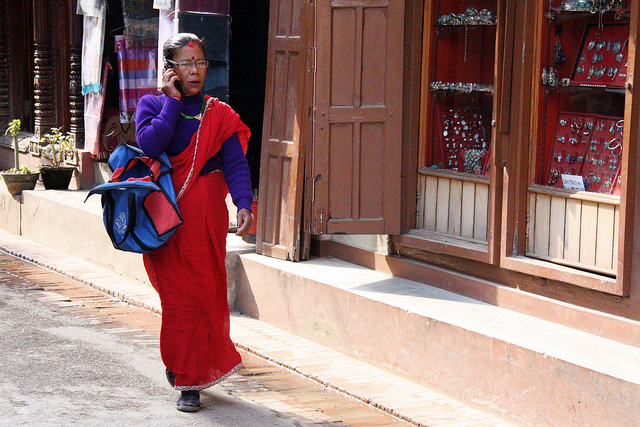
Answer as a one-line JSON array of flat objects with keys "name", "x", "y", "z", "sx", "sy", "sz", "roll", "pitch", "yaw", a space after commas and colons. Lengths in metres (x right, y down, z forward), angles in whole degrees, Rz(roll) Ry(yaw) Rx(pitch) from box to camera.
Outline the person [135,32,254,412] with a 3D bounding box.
[{"name": "person", "x": -1.142, "y": 0.079, "z": 7.234, "sx": 0.994, "sy": 2.959, "sz": 0.581, "roll": -1, "pitch": 11, "yaw": -14}]

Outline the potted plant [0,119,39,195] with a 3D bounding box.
[{"name": "potted plant", "x": -5.185, "y": -0.980, "z": 13.841, "sx": 0.568, "sy": 1.029, "sz": 2.330, "roll": -3, "pitch": 13, "yaw": -20}]

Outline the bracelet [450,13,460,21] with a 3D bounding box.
[{"name": "bracelet", "x": 1.404, "y": -1.916, "z": 8.756, "sx": 0.112, "sy": 0.052, "sz": 0.015, "roll": 9, "pitch": 13, "yaw": 31}]

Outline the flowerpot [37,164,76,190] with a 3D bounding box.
[{"name": "flowerpot", "x": -4.294, "y": -0.509, "z": 13.008, "sx": 0.384, "sy": 0.283, "sz": 0.399, "roll": 0, "pitch": -1, "yaw": 7}]

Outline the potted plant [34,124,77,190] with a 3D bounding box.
[{"name": "potted plant", "x": -4.332, "y": -0.825, "z": 13.173, "sx": 0.587, "sy": 0.908, "sz": 0.578, "roll": -1, "pitch": 4, "yaw": 22}]

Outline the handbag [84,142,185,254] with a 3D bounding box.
[{"name": "handbag", "x": -1.692, "y": -0.101, "z": 7.153, "sx": 0.675, "sy": 0.867, "sz": 0.605, "roll": -1, "pitch": 3, "yaw": -4}]

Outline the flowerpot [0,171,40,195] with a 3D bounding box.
[{"name": "flowerpot", "x": -4.852, "y": -0.432, "z": 13.020, "sx": 0.564, "sy": 0.338, "sz": 0.281, "roll": -3, "pitch": 12, "yaw": -21}]

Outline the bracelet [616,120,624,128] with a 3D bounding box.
[{"name": "bracelet", "x": 2.824, "y": -0.768, "z": 7.748, "sx": 0.035, "sy": 0.068, "sz": 0.084, "roll": -2, "pitch": 12, "yaw": -16}]

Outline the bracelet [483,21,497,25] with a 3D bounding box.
[{"name": "bracelet", "x": 1.730, "y": -1.801, "z": 8.530, "sx": 0.028, "sy": 0.031, "sz": 0.160, "roll": -6, "pitch": 14, "yaw": -32}]

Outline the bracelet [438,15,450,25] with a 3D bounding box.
[{"name": "bracelet", "x": 1.274, "y": -1.872, "z": 8.742, "sx": 0.069, "sy": 0.069, "sz": 0.090, "roll": -1, "pitch": 12, "yaw": -17}]

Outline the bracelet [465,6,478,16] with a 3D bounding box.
[{"name": "bracelet", "x": 1.571, "y": -1.943, "z": 8.658, "sx": 0.129, "sy": 0.088, "sz": 0.024, "roll": 12, "pitch": 15, "yaw": 40}]

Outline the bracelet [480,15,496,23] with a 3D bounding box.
[{"name": "bracelet", "x": 1.712, "y": -1.843, "z": 8.535, "sx": 0.034, "sy": 0.064, "sz": 0.186, "roll": -6, "pitch": 14, "yaw": -34}]
